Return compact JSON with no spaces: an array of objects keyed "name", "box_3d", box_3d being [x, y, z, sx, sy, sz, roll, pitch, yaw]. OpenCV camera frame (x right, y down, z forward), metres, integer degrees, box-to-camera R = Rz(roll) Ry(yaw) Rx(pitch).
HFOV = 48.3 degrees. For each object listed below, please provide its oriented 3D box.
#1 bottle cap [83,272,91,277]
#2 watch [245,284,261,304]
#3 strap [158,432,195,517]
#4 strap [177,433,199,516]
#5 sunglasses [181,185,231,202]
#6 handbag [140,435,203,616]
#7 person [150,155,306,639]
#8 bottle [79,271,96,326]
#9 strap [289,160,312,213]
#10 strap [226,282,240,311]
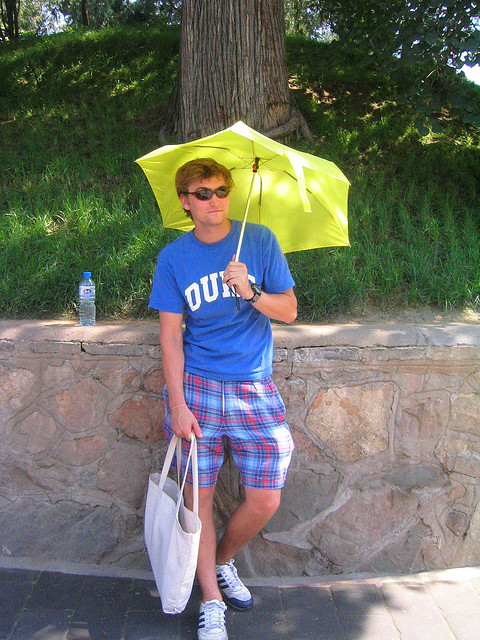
[{"name":"bottle cap","box_3d":[-0.911,-0.267,3.160,0.033,0.031,0.040,1,0,-1]},{"name":"watch","box_3d":[0.052,-0.096,2.267,0.041,0.084,0.073,20,-44,-28]},{"name":"strap","box_3d":[-0.235,0.658,2.224,0.058,0.341,0.112,26,-36,-28]},{"name":"strap","box_3d":[-0.213,0.637,2.233,0.090,0.326,0.430,0,5,-9]},{"name":"sunglasses","box_3d":[-0.151,-0.543,2.296,0.214,0.088,0.120,0,5,-5]},{"name":"handbag","box_3d":[-0.293,0.901,2.316,0.133,0.982,0.636,5,3,-14]},{"name":"person","box_3d":[-0.058,0.313,2.413,0.603,2.075,0.521,-3,5,-36]},{"name":"bottle","box_3d":[-0.934,-0.140,3.255,0.101,0.304,0.392,-1,5,-16]},{"name":"strap","box_3d":[0.223,-0.496,1.929,0.023,0.154,0.030,10,-6,6]},{"name":"strap","box_3d":[-0.026,-0.093,2.268,0.044,0.117,0.164,0,5,-1]}]
